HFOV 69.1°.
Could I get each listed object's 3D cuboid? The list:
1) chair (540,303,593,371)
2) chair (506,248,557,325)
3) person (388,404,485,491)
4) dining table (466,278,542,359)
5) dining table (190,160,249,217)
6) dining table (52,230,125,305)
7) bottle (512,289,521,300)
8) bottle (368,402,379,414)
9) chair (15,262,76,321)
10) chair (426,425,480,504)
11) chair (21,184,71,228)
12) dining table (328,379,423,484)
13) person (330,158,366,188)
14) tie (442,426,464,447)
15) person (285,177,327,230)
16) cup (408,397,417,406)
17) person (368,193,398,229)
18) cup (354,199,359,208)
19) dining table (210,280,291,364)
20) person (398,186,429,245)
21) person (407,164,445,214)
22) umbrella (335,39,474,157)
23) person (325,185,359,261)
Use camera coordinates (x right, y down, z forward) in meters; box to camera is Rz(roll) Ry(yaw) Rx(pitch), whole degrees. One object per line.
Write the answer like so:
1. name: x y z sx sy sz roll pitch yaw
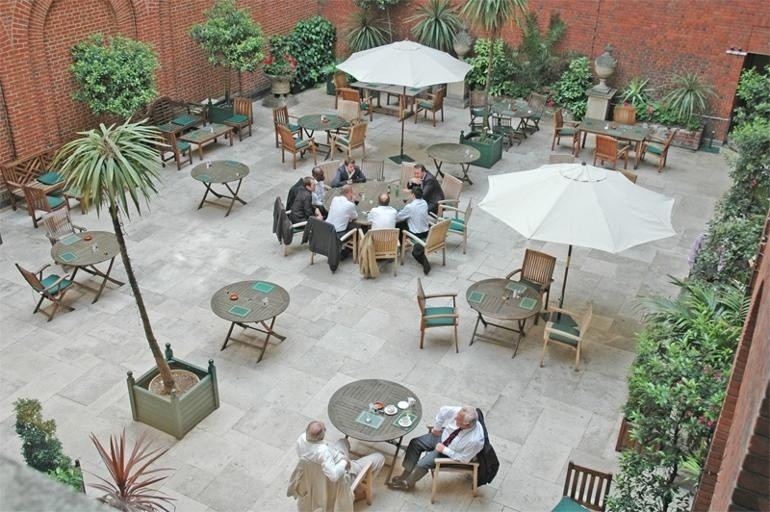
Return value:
1. chair: 3.532 1.517 10.957 0.836 1.128 0.881 7 26 13
2. chair: 3.060 0.639 11.883 0.928 1.224 0.873 15 29 26
3. person: 0.746 2.858 8.428 1.206 1.589 0.747 5 30 -21
4. dining table: 2.446 1.267 11.649 1.549 1.092 1.536 19 50 20
5. dining table: -4.500 -1.843 15.263 1.567 1.048 1.582 -19 37 -36
6. dining table: -6.414 0.290 12.013 1.063 0.746 1.058 27 48 18
7. bottle: 2.616 0.766 11.197 0.130 0.166 0.147 13 60 14
8. bottle: -0.193 2.374 8.773 0.127 0.045 0.123 -2 41 2
9. chair: -7.220 0.795 11.824 0.667 0.914 0.692 34 42 28
10. chair: 1.047 3.113 8.430 0.852 0.628 0.680 1 20 3
11. chair: -8.883 -1.379 14.707 0.930 1.093 0.899 -15 30 -32
12. dining table: -0.107 2.348 9.198 1.371 1.299 0.859 11 15 -3
13. person: -0.990 -2.270 14.864 0.973 0.733 0.688 -4 32 -7
14. tie: 1.004 2.664 8.234 0.068 0.492 0.025 47 18 22
15. person: -1.918 -1.250 13.643 0.743 1.260 0.539 -30 70 -24
16. cup: 0.418 2.316 8.893 0.069 0.093 0.099 17 49 -16
17. person: -0.051 -0.959 12.811 0.694 0.804 0.733 -1 31 -2
18. cup: -0.712 -1.310 13.872 0.168 0.176 0.156 1 26 0
19. dining table: -2.635 1.288 11.053 1.507 1.062 1.558 24 33 36
20. person: 0.674 -0.993 13.273 0.756 1.248 0.639 3 32 5
21. person: 1.018 -1.572 14.588 0.935 1.632 0.705 -9 18 -15
22. umbrella: 0.585 -5.160 18.120 3.500 2.923 3.314 -4 39 -6
23. person: -0.974 -1.033 13.013 0.773 1.109 0.691 -10 33 -17
